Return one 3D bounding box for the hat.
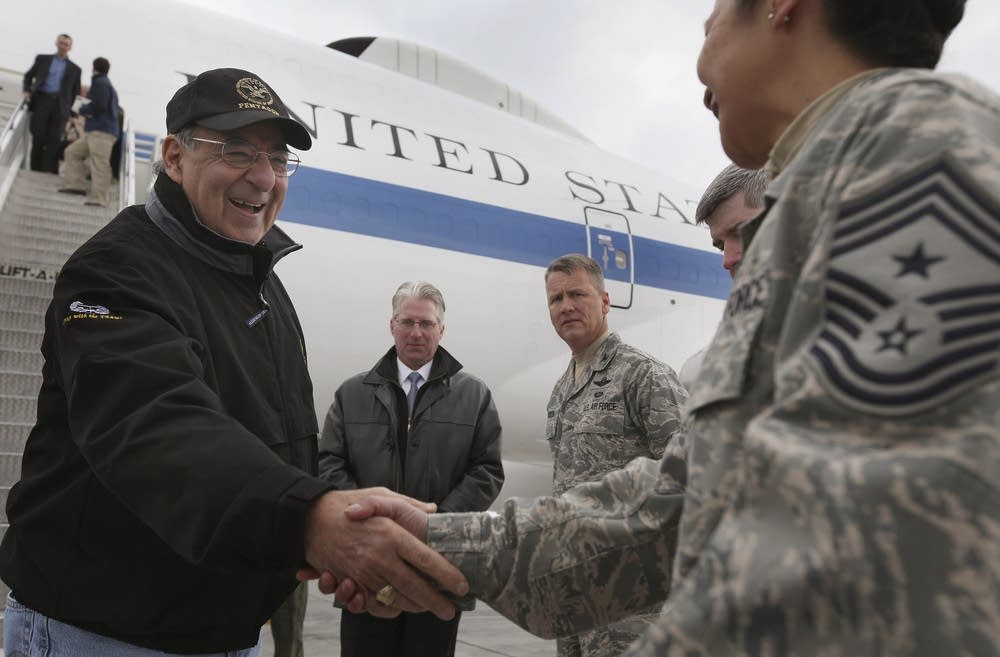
[{"bbox_3d":[-1.023,-0.813,3.015,0.453,0.227,0.339,0,0,28],"label":"hat"}]
